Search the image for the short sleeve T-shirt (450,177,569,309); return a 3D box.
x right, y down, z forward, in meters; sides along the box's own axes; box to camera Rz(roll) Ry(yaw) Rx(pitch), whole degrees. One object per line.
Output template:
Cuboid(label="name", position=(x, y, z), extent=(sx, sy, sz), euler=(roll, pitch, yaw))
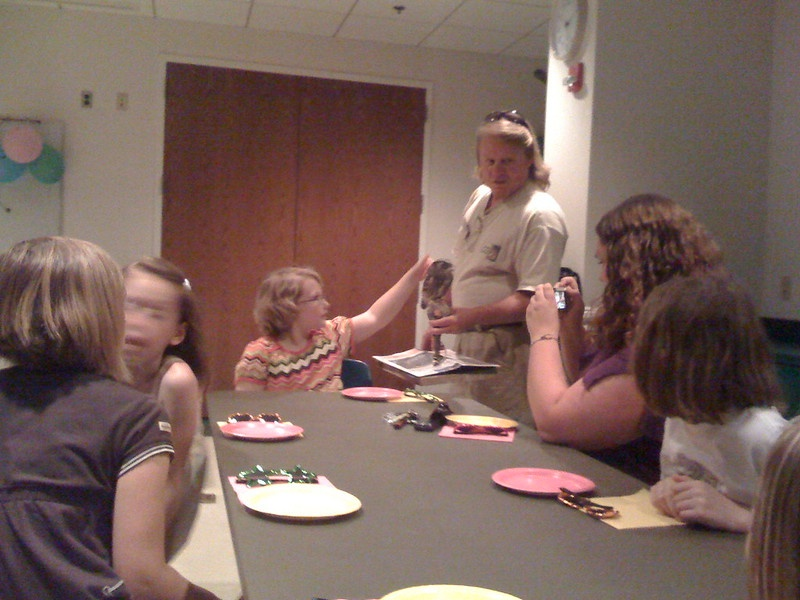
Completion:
Cuboid(label="short sleeve T-shirt", position=(0.444, -0.220, 2.600), extent=(0.300, 0.487, 0.525), euler=(4, 14, -23))

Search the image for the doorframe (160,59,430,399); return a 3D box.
Cuboid(label="doorframe", position=(-0.735, -0.652, 5.184), extent=(2.183, 0.039, 2.665), euler=(7, -34, -14))

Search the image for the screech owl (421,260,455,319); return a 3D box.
Cuboid(label="screech owl", position=(0.144, -0.042, 2.373), extent=(0.143, 0.211, 0.106), euler=(-3, 8, -35))

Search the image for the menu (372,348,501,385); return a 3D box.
Cuboid(label="menu", position=(0.101, 0.215, 2.245), extent=(0.268, 0.079, 0.496), euler=(-1, 5, -23))

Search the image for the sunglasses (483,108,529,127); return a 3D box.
Cuboid(label="sunglasses", position=(0.436, -0.736, 2.686), extent=(0.122, 0.112, 0.034), euler=(0, 31, 2))
